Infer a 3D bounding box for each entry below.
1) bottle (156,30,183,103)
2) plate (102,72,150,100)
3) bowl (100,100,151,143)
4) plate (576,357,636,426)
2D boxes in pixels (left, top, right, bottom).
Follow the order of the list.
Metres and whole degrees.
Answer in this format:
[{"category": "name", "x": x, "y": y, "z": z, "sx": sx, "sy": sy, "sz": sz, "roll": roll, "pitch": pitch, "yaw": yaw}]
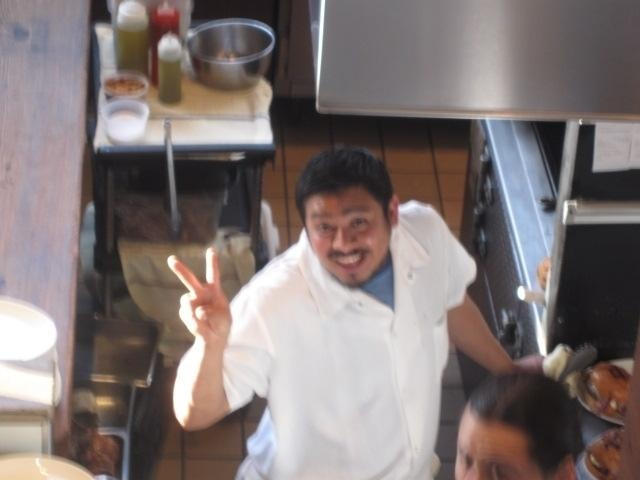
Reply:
[{"category": "bottle", "x": -0.495, "y": -0.553, "z": 2.427, "sx": 0.075, "sy": 0.225, "sz": 0.075, "roll": 0, "pitch": 18, "yaw": 0}, {"category": "plate", "x": -0.648, "y": -0.510, "z": 2.467, "sx": 0.153, "sy": 0.073, "sz": 0.226, "roll": -4, "pitch": 21, "yaw": -14}, {"category": "bowl", "x": -0.619, "y": -0.376, "z": 2.363, "sx": 0.150, "sy": 0.129, "sz": 0.111, "roll": -5, "pitch": 19, "yaw": -16}, {"category": "plate", "x": 0.752, "y": 0.386, "z": 1.973, "sx": 0.125, "sy": 0.144, "sz": 0.114, "roll": 12, "pitch": 21, "yaw": 29}]
